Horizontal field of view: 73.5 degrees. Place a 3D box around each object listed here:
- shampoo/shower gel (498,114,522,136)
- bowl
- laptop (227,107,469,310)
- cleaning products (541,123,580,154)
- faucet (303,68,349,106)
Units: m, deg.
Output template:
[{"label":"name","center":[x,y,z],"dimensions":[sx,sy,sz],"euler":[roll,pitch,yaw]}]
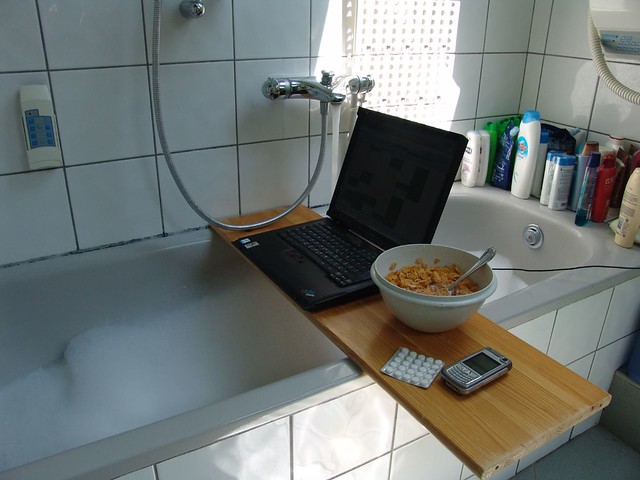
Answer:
[{"label":"shampoo/shower gel","center":[0.794,-0.482,1.798],"dimensions":[0.044,0.062,0.138],"euler":[25,62,38]},{"label":"bowl","center":[0.237,0.099,0.919],"dimensions":[0.205,0.103,0.220],"euler":[-1,31,0]},{"label":"laptop","center":[0.066,-0.116,1.154],"dimensions":[0.473,0.371,0.478],"euler":[-17,32,-34]},{"label":"cleaning products","center":[0.949,-0.402,1.695],"dimensions":[0.118,0.038,0.124],"euler":[16,75,20]},{"label":"faucet","center":[0.018,-0.467,1.317],"dimensions":[0.102,0.030,0.111],"euler":[7,42,20]}]
